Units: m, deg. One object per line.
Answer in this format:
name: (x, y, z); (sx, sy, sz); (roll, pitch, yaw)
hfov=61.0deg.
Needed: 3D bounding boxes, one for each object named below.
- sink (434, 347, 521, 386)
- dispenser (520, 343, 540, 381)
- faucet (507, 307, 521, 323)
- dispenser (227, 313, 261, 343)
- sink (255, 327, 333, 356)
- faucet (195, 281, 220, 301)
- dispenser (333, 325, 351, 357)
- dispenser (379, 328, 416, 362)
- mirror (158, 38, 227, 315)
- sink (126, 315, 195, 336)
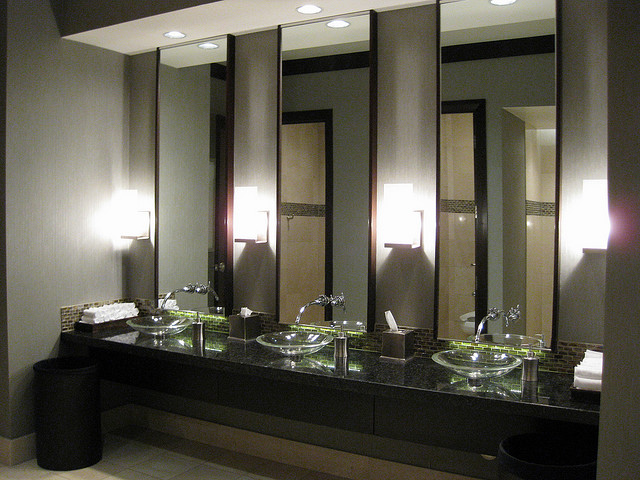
sink: (0.920, 0.725, 3.213); (0.473, 0.146, 0.474); (3, 7, 15)
dispenser: (1.228, 0.714, 3.188); (0.114, 0.175, 0.222); (4, 7, 20)
faucet: (1.175, 0.457, 3.290); (0.063, 0.085, 0.039); (-3, 1, 28)
dispenser: (-0.554, 0.656, 4.100); (0.202, 0.189, 0.204); (-2, -2, 38)
sink: (-0.181, 0.689, 3.722); (0.487, 0.167, 0.528); (1, 7, -5)
faucet: (-0.911, 0.403, 4.355); (0.103, 0.065, 0.166); (-4, -26, 23)
dispenser: (0.138, 0.673, 3.631); (0.129, 0.206, 0.116); (0, 1, 28)
dispenser: (0.512, 0.696, 3.619); (0.200, 0.189, 0.241); (2, -6, 17)
mirror: (-1.053, -0.505, 4.370); (0.756, 2.150, 0.249); (6, 8, 30)
sink: (-1.206, 0.658, 4.170); (0.448, 0.130, 0.331); (5, 7, 29)
